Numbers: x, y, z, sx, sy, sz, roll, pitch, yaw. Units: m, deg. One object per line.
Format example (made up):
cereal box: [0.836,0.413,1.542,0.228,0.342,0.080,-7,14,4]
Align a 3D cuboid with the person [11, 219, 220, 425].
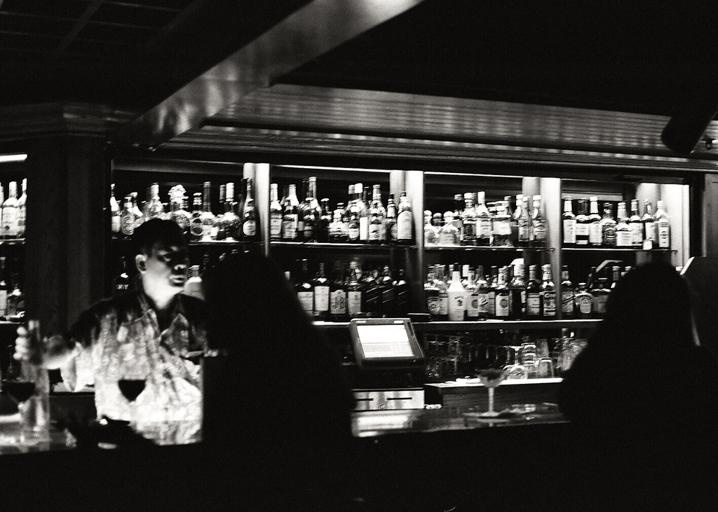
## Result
person: [-1.394,0.403,4.495,1.315,1.214,0.356,2,-16,-17]
